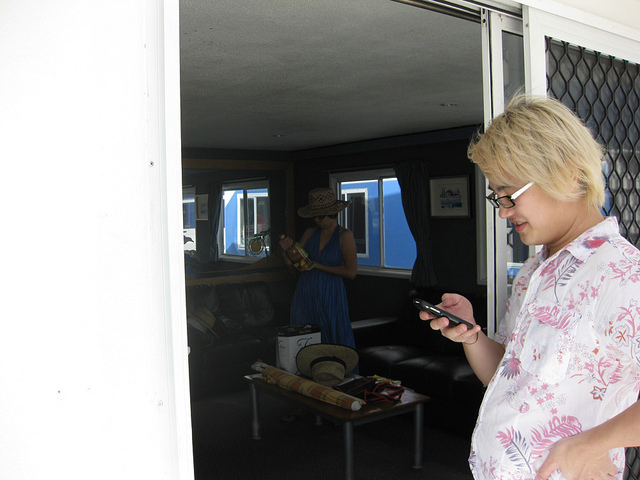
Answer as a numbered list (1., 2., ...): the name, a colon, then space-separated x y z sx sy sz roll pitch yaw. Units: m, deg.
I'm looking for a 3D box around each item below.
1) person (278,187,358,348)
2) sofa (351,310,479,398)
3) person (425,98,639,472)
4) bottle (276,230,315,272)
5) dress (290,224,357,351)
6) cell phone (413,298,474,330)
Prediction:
1. person: 0.016 0.212 4.155 0.583 1.030 0.390 -3 2 35
2. sofa: 0.865 0.973 4.547 0.802 0.469 1.647 -5 2 -33
3. person: 0.586 0.138 1.399 0.309 1.064 0.611 -4 2 -28
4. bottle: -0.170 0.104 4.123 0.247 0.259 0.227 -4 2 -2
5. dress: 0.049 0.460 4.204 0.524 1.211 0.337 10 26 18
6. cell phone: 0.367 0.220 1.523 0.154 0.032 0.088 29 -10 -7
